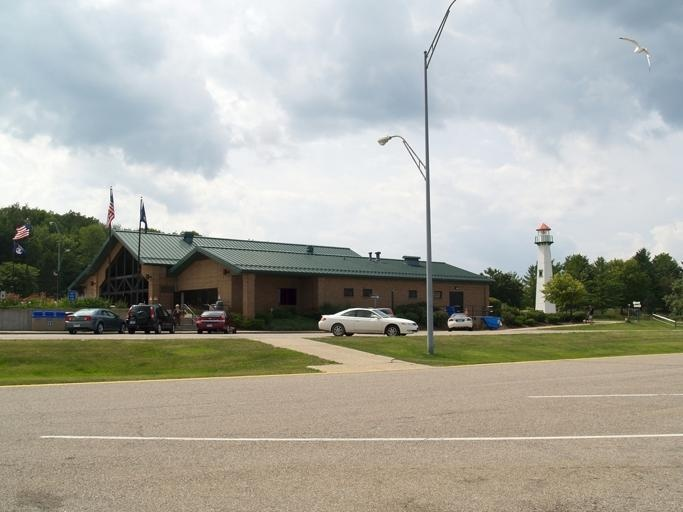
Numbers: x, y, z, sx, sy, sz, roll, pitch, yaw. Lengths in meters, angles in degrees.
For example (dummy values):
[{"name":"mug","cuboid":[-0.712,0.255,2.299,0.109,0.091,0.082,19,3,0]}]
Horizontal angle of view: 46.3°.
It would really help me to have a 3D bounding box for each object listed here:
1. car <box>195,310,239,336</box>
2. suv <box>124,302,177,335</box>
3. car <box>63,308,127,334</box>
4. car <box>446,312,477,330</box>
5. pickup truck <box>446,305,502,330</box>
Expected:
[{"name":"car","cuboid":[-6.593,3.455,41.724,1.914,1.261,1.447,2,-8,-11]},{"name":"suv","cuboid":[-9.977,3.284,41.955,1.318,1.176,2.711,-1,0,15]},{"name":"car","cuboid":[-12.331,3.235,39.582,1.515,1.374,3.240,-3,-9,22]},{"name":"car","cuboid":[7.872,4.379,53.273,1.544,1.178,1.841,0,-9,6]},{"name":"pickup truck","cuboid":[9.324,4.542,56.380,3.155,1.039,2.018,0,-6,0]}]
